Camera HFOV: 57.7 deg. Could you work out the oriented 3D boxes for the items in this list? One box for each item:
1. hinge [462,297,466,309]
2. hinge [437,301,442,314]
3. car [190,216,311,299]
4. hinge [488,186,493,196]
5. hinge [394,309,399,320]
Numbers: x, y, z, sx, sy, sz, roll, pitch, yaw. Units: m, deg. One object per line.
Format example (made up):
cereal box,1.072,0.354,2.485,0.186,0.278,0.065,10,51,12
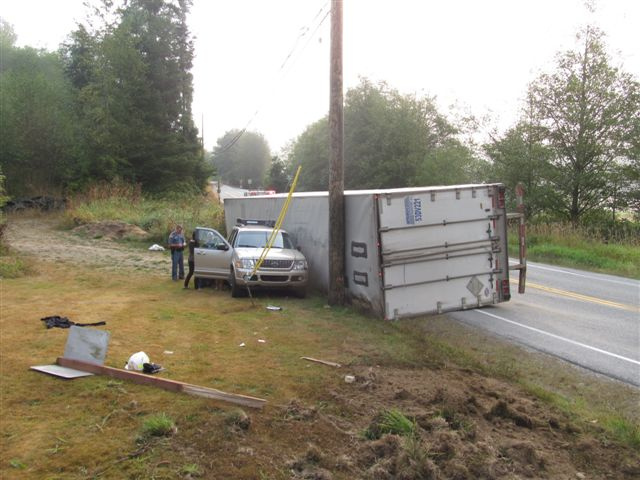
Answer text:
hinge,3.472,1.536,14.079,0.090,0.271,0.049,1,5,-12
hinge,2.848,1.607,13.914,0.121,0.266,0.056,2,5,-13
car,-2.154,0.563,17.586,1.860,1.708,3.435,2,-5,-19
hinge,4.115,-1.191,14.122,0.170,0.213,0.093,-10,7,-43
hinge,1.786,1.762,13.718,0.114,0.235,0.039,1,5,-15
